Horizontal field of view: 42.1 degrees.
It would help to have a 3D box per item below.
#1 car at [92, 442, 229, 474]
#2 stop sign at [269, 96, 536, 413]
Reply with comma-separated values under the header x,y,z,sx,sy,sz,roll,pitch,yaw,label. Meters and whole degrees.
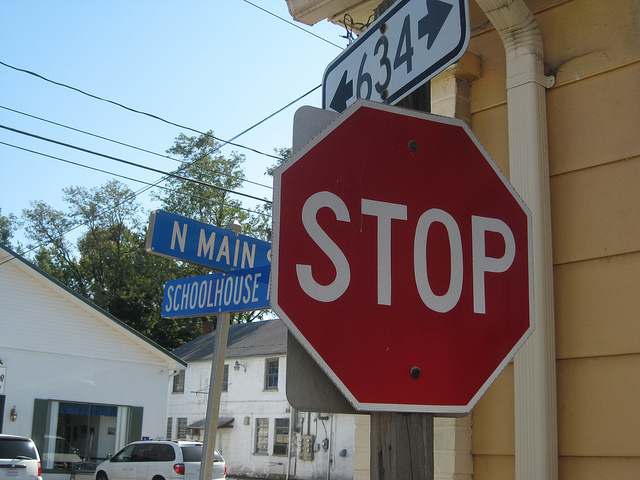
x,y,z,sx,sy,sz,roll,pitch,yaw,label
-3.776,4.979,18.902,2.938,0.809,0.615,-16,-25,36,car
0.478,-0.003,4.727,1.518,1.877,0.330,4,-18,-12,stop sign
